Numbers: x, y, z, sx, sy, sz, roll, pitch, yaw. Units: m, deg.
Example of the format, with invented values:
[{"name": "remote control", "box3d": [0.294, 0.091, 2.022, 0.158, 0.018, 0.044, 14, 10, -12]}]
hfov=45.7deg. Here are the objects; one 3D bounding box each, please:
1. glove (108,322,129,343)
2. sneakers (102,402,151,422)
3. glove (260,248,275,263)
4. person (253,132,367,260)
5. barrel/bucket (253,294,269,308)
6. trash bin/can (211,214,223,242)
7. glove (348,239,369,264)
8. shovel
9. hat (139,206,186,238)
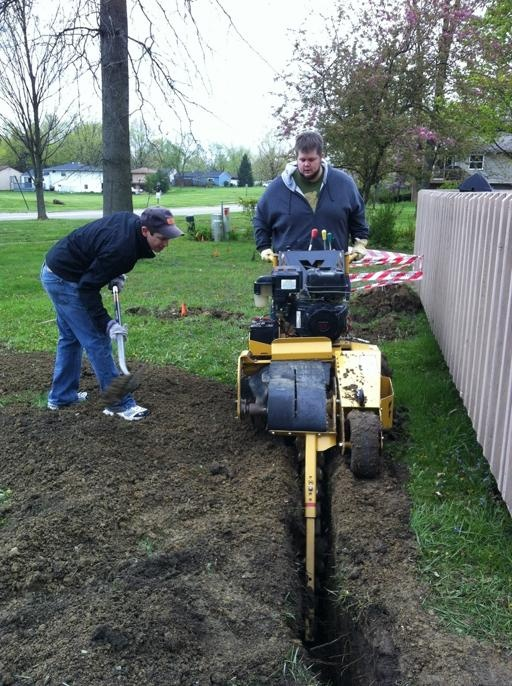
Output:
[{"name": "glove", "box3d": [-1.022, -0.092, 4.484, 0.132, 0.158, 0.231, -4, 12, -13]}, {"name": "sneakers", "box3d": [-1.042, 0.565, 4.913, 0.362, 0.155, 0.139, 0, 12, -1]}, {"name": "glove", "box3d": [0.103, -0.735, 5.166, 0.101, 0.063, 0.163, 20, 12, -15]}, {"name": "person", "box3d": [0.480, -1.230, 5.142, 1.005, 0.980, 0.763, -1, 12, 1]}, {"name": "barrel/bucket", "box3d": [0.052, -0.329, 4.733, 0.128, 0.130, 0.123, -2, 27, 1]}, {"name": "trash bin/can", "box3d": [-1.239, -3.653, 19.426, 0.274, 0.815, 0.440, -8, 14, -29]}, {"name": "glove", "box3d": [0.870, -0.775, 5.167, 0.146, 0.126, 0.361, 4, 23, 16]}, {"name": "shovel", "box3d": [-1.292, -0.007, 6.228, 0.230, 0.227, 1.604, 6, 48, -24]}, {"name": "hat", "box3d": [-0.682, -0.859, 4.366, 0.299, 0.226, 0.335, -3, 12, -9]}]
